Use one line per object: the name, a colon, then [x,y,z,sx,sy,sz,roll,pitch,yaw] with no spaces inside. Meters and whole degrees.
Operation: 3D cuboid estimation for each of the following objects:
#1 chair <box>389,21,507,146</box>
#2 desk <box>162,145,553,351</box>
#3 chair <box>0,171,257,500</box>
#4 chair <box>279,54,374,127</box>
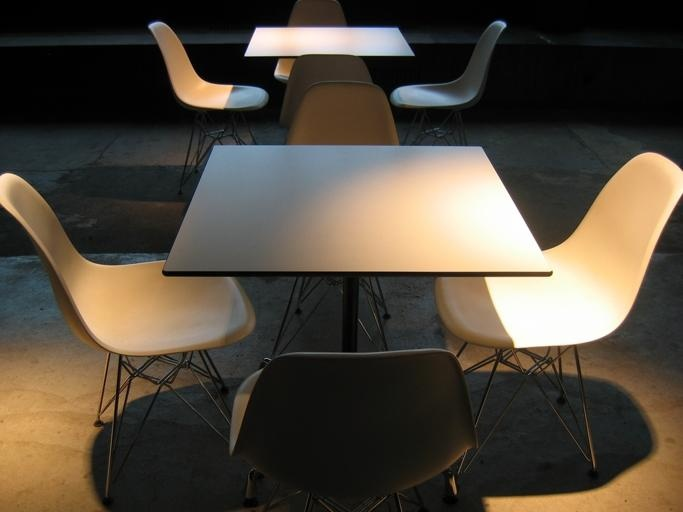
chair: [0.752,-1.102,4.612,0.778,1.089,0.659,-3,21,-4]
desk: [0.055,-0.235,2.478,1.188,0.932,0.959,0,42,-3]
chair: [-0.943,0.409,2.758,0.967,1.320,0.810,-7,37,-16]
chair: [-0.132,-1.057,4.034,0.561,0.384,0.498,0,15,-1]
